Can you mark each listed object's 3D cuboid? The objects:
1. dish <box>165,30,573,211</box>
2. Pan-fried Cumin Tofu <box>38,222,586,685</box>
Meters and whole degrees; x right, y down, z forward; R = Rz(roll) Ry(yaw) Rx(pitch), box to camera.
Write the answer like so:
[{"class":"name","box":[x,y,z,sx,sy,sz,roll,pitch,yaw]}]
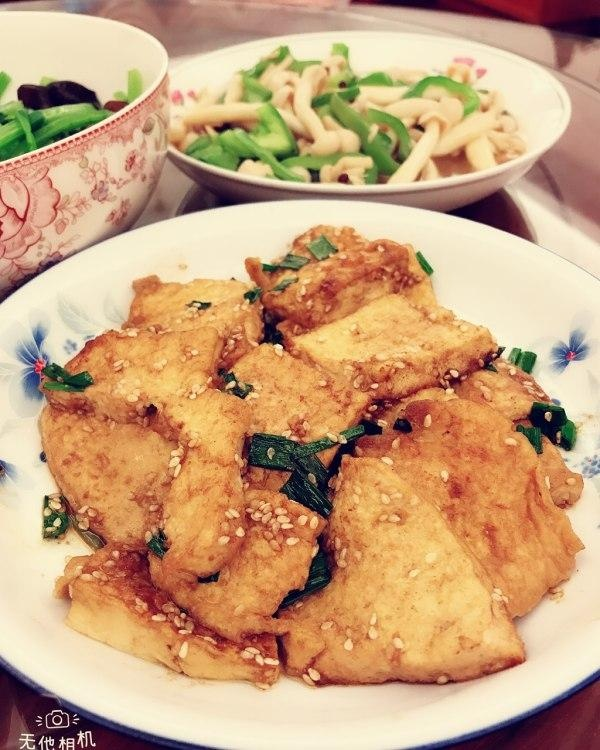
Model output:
[{"class":"dish","box":[0.318,-1.131,3.334,1.507,0.279,1.310,-9,33,-12]},{"class":"Pan-fried Cumin Tofu","box":[0.029,0.225,2.220,1.531,0.292,1.437,-13,54,-11]}]
